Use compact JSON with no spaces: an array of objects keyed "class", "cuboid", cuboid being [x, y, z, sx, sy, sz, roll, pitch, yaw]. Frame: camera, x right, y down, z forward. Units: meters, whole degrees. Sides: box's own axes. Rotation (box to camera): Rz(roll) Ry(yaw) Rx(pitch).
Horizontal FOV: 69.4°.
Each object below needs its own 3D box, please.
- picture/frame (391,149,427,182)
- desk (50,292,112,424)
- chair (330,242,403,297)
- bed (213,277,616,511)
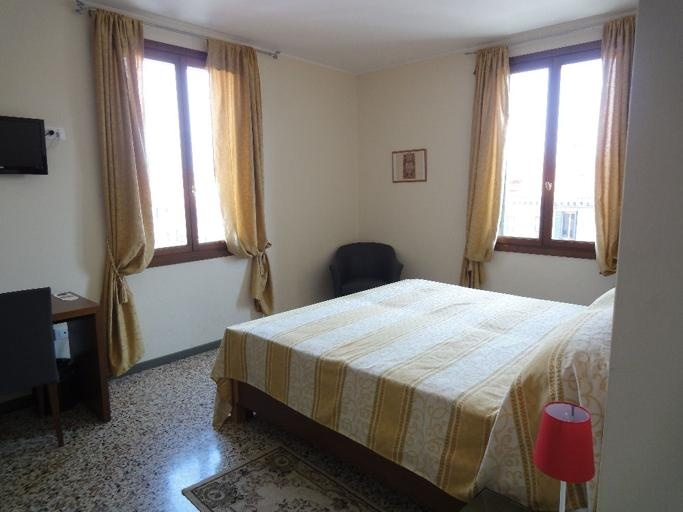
[{"class":"picture/frame","cuboid":[0.742,-1.007,5.471,0.379,0.346,0.031,2,9,31]},{"class":"desk","cuboid":[-1.853,0.738,3.437,0.406,0.804,0.782,-6,8,-42]},{"class":"chair","cuboid":[0.269,0.108,5.500,0.606,0.774,0.657,1,2,-1]},{"class":"bed","cuboid":[0.493,0.509,3.102,2.129,0.843,1.562,8,17,31]}]
